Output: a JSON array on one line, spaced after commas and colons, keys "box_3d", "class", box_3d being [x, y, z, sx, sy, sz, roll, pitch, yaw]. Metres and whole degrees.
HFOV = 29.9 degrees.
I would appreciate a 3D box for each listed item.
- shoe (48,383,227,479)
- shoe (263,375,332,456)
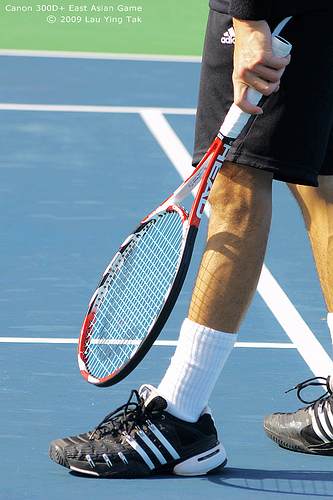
[{"box_3d": [-0.061, 0.518, 1.760, 0.648, 0.201, 0.272, 2, 58, -3], "class": "shoe"}, {"box_3d": [0.449, 0.540, 1.983, 0.184, 0.231, 0.195, -1, 35, -21], "class": "shoe"}]
